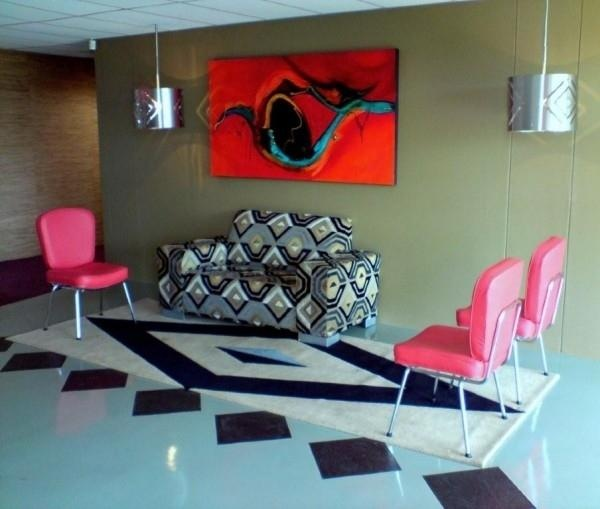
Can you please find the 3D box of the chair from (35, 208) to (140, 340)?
[{"bbox_3d":[-2.007,0.147,4.603,0.623,1.131,0.670,6,12,22],"label":"chair"}]

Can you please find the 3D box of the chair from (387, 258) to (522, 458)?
[{"bbox_3d":[0.994,0.664,3.150,0.745,1.354,0.824,5,8,37],"label":"chair"}]

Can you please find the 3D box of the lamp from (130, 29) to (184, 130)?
[{"bbox_3d":[-1.495,-1.863,5.276,0.461,1.078,1.133,-3,11,-13],"label":"lamp"}]
